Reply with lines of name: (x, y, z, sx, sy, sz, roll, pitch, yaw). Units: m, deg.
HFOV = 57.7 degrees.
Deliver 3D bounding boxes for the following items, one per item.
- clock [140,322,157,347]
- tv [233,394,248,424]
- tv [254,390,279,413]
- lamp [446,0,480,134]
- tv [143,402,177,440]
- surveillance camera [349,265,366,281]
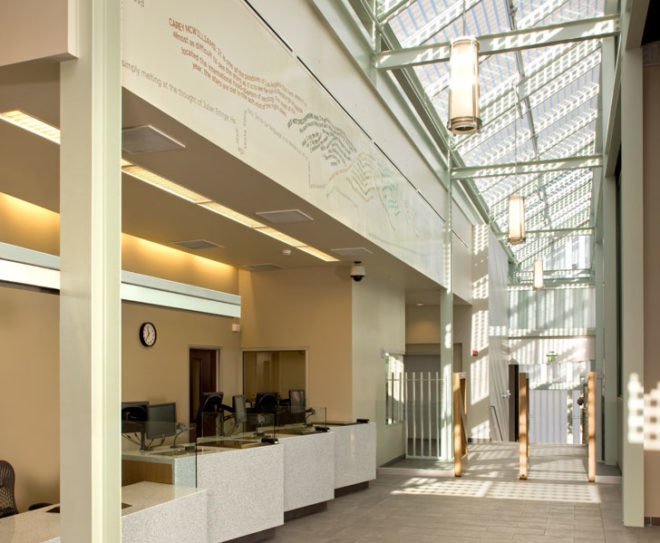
clock: (-2.422, 0.849, 7.988, 0.052, 0.321, 0.289, -5, -6, 17)
tv: (-1.117, 1.723, 7.445, 0.129, 0.432, 0.403, -5, -7, 9)
tv: (-0.951, 1.824, 8.614, 0.230, 0.359, 0.344, 5, -11, 20)
lamp: (1.133, -1.641, 5.184, 0.281, 0.925, 0.280, -2, -7, 14)
tv: (-1.629, 1.439, 5.751, 0.047, 0.424, 0.381, -5, -9, 23)
surveillance camera: (0.412, 0.045, 9.373, 0.201, 0.331, 0.220, 2, -8, -18)
